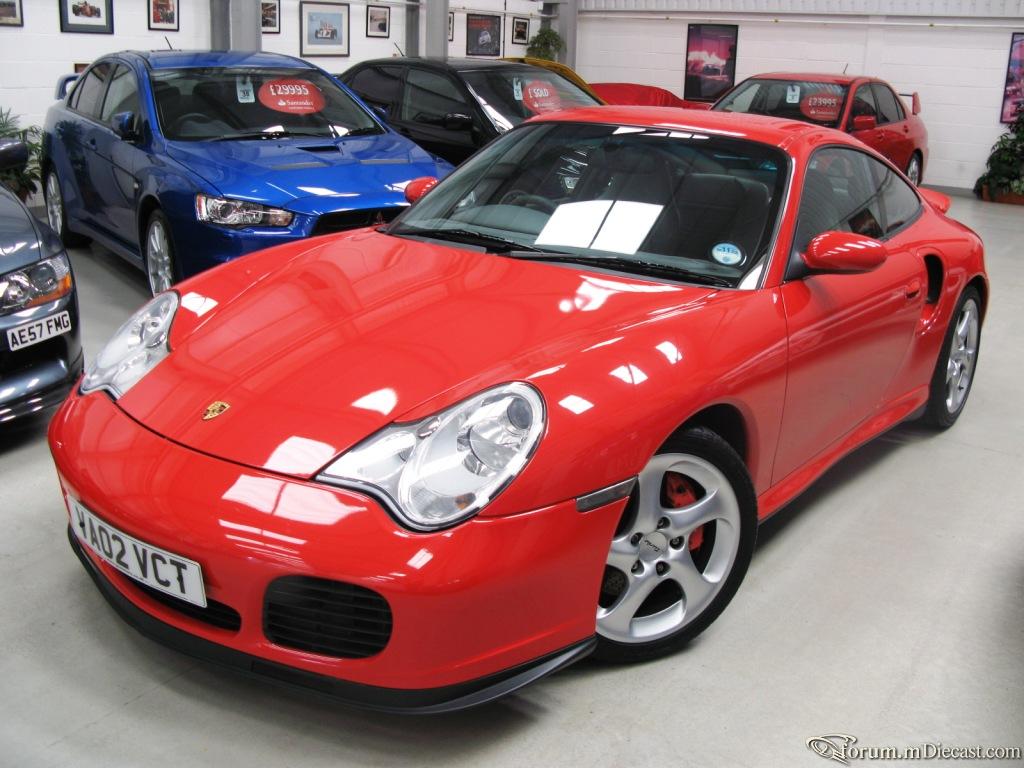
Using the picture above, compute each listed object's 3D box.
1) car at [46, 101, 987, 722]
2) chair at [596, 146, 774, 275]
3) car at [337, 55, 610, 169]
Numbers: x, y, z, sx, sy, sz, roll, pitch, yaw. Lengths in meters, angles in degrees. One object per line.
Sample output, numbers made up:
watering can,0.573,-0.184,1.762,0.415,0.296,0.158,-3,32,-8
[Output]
car,0.429,-0.097,2.111,2.879,0.803,1.591,-13,24,-43
chair,0.560,-0.581,2.038,0.583,0.215,0.487,16,53,23
car,-0.365,-2.479,5.940,2.604,0.933,1.252,11,20,39
